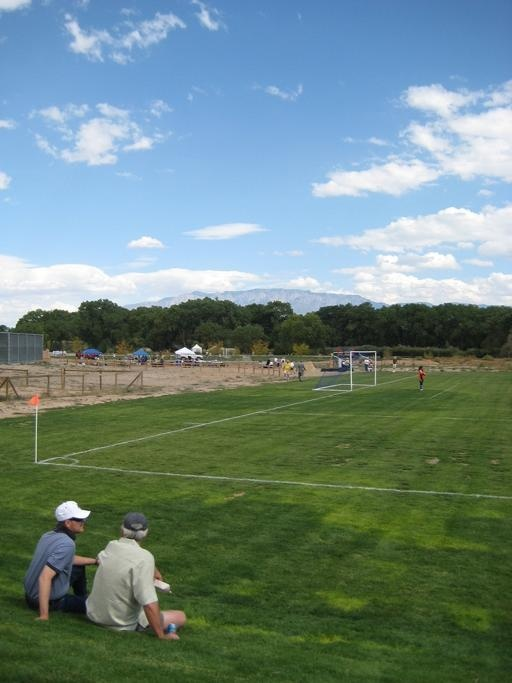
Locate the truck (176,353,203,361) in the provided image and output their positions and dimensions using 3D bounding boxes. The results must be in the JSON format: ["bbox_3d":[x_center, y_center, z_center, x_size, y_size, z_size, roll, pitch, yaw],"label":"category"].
[{"bbox_3d":[-10.886,2.437,105.404,5.703,1.110,1.211,8,8,42],"label":"truck"}]
